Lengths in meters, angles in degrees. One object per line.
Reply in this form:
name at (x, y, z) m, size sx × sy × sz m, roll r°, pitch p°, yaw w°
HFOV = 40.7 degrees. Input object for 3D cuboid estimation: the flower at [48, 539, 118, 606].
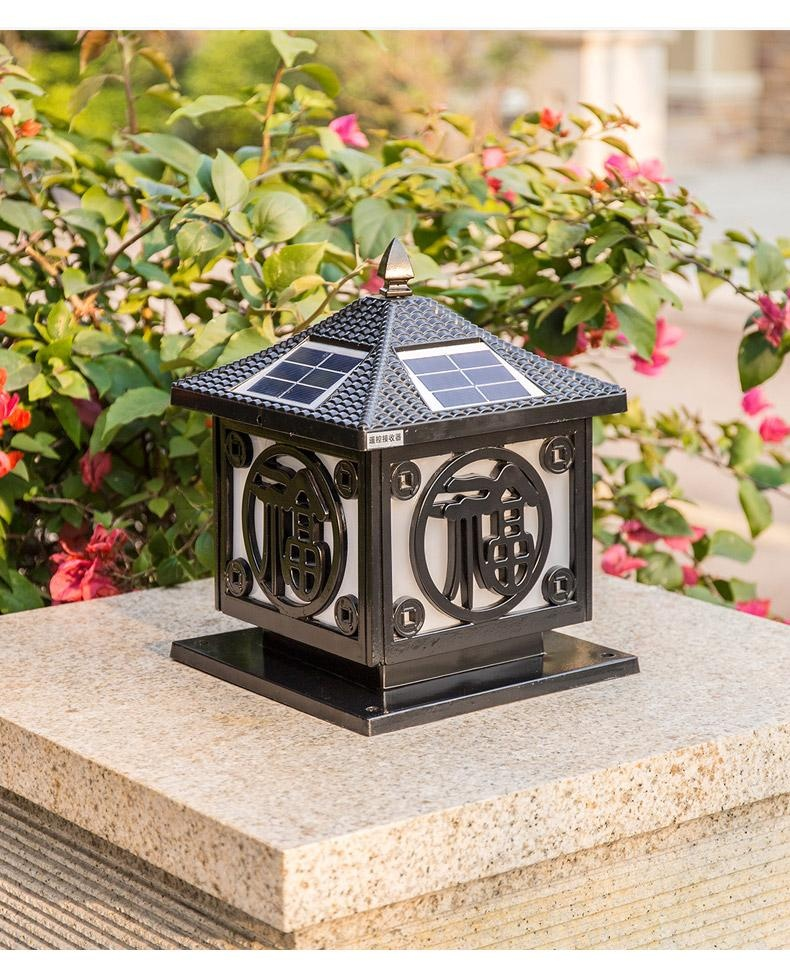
flower at (-0.555, 0.155, 1.858) m, size 0.134 × 0.051 × 0.123 m, roll 0°, pitch 26°, yaw 8°

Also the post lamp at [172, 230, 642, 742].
post lamp at (0.028, -0.021, 1.394) m, size 0.482 × 0.573 × 0.457 m, roll -8°, pitch 14°, yaw -34°

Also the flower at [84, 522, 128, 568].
flower at (-0.501, 0.102, 1.878) m, size 0.086 × 0.056 × 0.088 m, roll -6°, pitch 15°, yaw -31°
